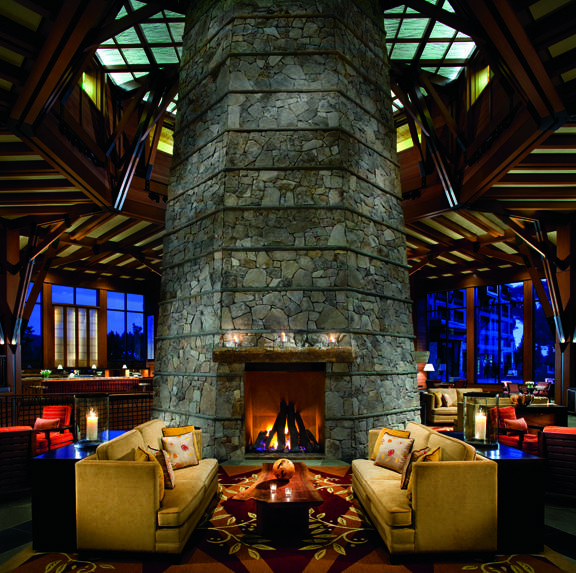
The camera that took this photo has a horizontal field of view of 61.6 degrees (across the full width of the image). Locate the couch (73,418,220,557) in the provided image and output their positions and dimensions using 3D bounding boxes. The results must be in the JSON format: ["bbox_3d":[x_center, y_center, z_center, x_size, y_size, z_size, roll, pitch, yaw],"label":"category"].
[{"bbox_3d":[-1.262,1.789,4.465,0.955,0.883,1.128,0,-1,8],"label":"couch"}]

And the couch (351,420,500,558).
[{"bbox_3d":[1.207,1.794,4.464,1.001,0.891,1.148,0,-1,-7],"label":"couch"}]

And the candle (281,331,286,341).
[{"bbox_3d":[-0.081,0.738,7.089,0.090,0.145,0.257,0,-1,2],"label":"candle"}]

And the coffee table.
[{"bbox_3d":[-0.070,1.957,4.406,0.499,0.197,0.861,-1,2,-3],"label":"coffee table"}]

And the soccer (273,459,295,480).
[{"bbox_3d":[-0.054,1.789,4.758,0.207,0.149,0.195,4,-17,-3],"label":"soccer"}]
